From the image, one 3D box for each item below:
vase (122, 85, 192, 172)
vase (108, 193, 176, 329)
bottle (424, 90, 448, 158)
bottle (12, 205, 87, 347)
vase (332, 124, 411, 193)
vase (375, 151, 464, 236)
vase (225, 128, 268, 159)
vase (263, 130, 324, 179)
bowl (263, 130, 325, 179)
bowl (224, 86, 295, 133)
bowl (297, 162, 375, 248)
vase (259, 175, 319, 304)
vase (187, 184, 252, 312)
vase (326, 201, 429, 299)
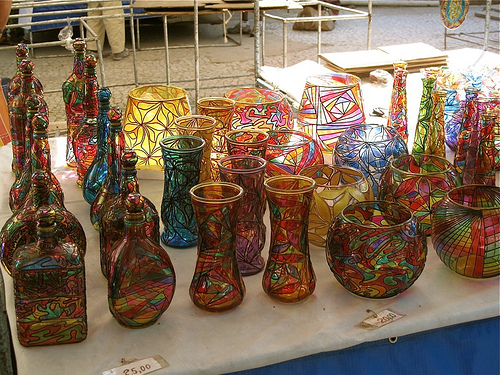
[{"bbox_3d":[-0.277,-0.187,1.457,0.242,0.254,0.281,1,18,-6],"label":"vase"},{"bbox_3d":[-0.204,0.137,0.856,0.116,0.258,0.055,-5,19,-6],"label":"vase"},{"bbox_3d":[0.528,-0.188,1.322,0.053,0.182,0.158,4,18,20],"label":"bottle"},{"bbox_3d":[-0.370,0.166,0.841,0.140,0.249,0.078,-8,19,-15],"label":"bottle"},{"bbox_3d":[0.352,-0.089,1.324,0.210,0.212,0.206,-9,16,-26],"label":"vase"},{"bbox_3d":[0.368,0.000,1.120,0.214,0.150,0.233,-2,12,0],"label":"vase"},{"bbox_3d":[-0.003,-0.109,1.094,0.102,0.068,0.094,-1,21,-4],"label":"vase"},{"bbox_3d":[0.104,-0.085,1.185,0.144,0.096,0.152,-1,9,-1],"label":"vase"},{"bbox_3d":[0.117,-0.090,1.182,0.148,0.097,0.155,-1,11,0],"label":"bowl"},{"bbox_3d":[0.027,-0.252,1.383,0.198,0.133,0.213,2,16,-1],"label":"bowl"},{"bbox_3d":[0.187,0.037,1.152,0.193,0.137,0.210,-1,12,0],"label":"bowl"},{"bbox_3d":[0.078,0.103,0.957,0.125,0.257,0.127,-1,18,7],"label":"vase"},{"bbox_3d":[-0.066,0.129,0.888,0.103,0.250,0.045,-6,19,-8],"label":"vase"},{"bbox_3d":[0.263,0.128,0.972,0.196,0.188,0.161,3,18,17],"label":"vase"}]
